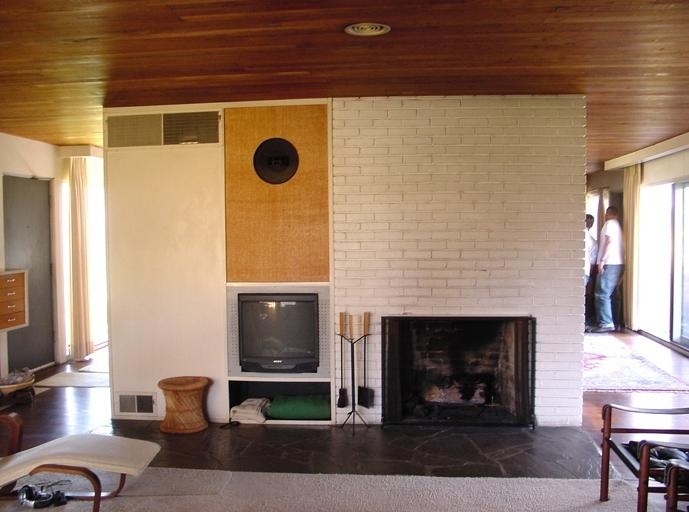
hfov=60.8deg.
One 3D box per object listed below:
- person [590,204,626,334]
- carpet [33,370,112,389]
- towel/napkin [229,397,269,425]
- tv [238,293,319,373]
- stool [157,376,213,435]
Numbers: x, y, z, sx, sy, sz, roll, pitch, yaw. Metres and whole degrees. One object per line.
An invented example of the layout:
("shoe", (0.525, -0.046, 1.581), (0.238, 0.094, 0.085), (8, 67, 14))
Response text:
("person", (4.173, 0.191, 9.225), (0.385, 1.914, 0.812), (4, 13, 23))
("carpet", (-3.112, 1.451, 6.917), (0.865, 0.034, 0.572), (0, 9, 2))
("towel/napkin", (-0.910, 1.479, 5.634), (0.352, 0.155, 0.273), (0, 10, 2))
("tv", (-0.578, 0.708, 5.457), (1.063, 0.685, 0.507), (0, -2, 2))
("stool", (-1.481, 1.362, 5.459), (0.448, 0.468, 0.362), (-1, 11, 2))
